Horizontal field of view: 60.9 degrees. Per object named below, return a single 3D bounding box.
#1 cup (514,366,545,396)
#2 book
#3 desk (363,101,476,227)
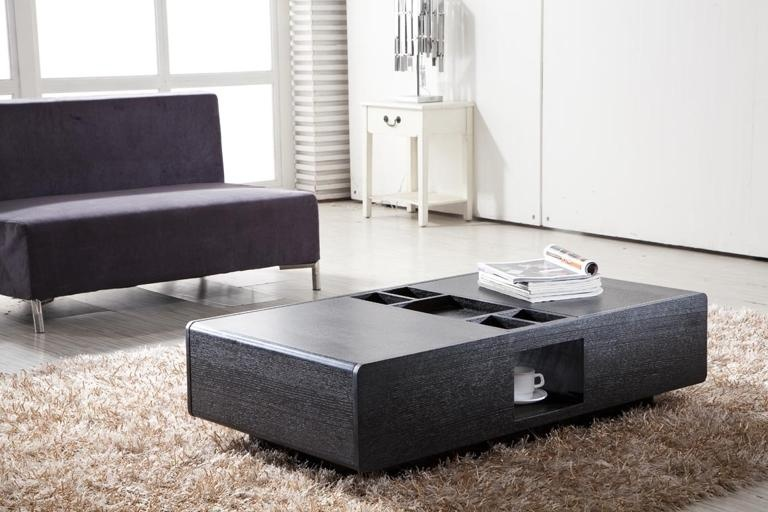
[{"bbox_3d":[0.437,0.390,2.065,0.120,0.077,0.073,1,-3,-19],"label":"cup"},{"bbox_3d":[0.525,0.012,2.260,0.267,0.083,0.257,-5,11,-23],"label":"book"},{"bbox_3d":[0.315,-0.884,5.969,0.640,0.957,1.024,-9,16,-34],"label":"desk"}]
